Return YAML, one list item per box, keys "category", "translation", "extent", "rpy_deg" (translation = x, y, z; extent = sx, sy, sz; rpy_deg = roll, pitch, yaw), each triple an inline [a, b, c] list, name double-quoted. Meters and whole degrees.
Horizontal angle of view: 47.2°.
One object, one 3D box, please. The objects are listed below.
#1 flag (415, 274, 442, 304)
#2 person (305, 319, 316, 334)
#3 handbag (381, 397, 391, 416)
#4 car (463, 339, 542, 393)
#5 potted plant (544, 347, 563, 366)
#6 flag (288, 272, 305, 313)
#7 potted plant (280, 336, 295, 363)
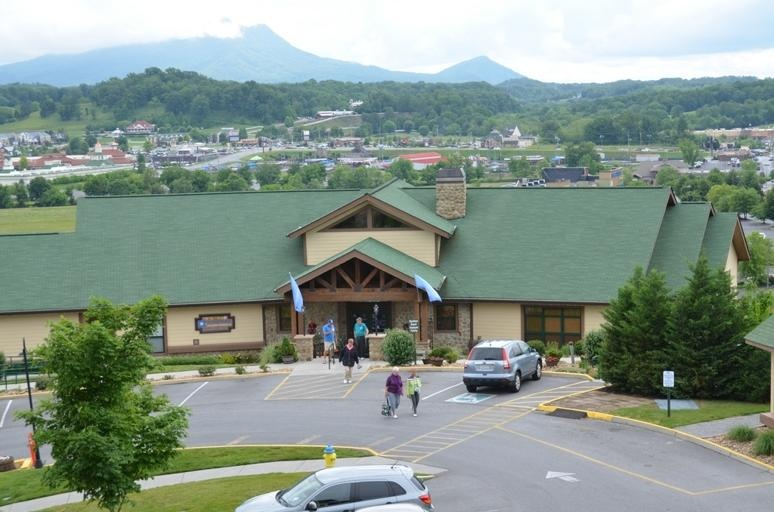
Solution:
- category: "flag"
  translation: [2.237, 1.785, 47.960]
  extent: [1.391, 1.668, 0.786]
  rpy_deg: [-4, -14, -2]
- category: "person"
  translation: [-4.321, 3.984, 49.704]
  extent: [0.670, 0.957, 0.567]
  rpy_deg: [-1, 2, -11]
- category: "handbag"
  translation: [0.015, 6.484, 38.145]
  extent: [0.403, 0.799, 0.658]
  rpy_deg: [-3, 10, -1]
- category: "car"
  translation: [5.507, 5.122, 41.262]
  extent: [1.778, 2.459, 3.792]
  rpy_deg: [7, 14, 43]
- category: "potted plant"
  translation: [8.577, 5.190, 45.434]
  extent: [0.756, 0.800, 0.797]
  rpy_deg: [1, -2, 2]
- category: "flag"
  translation: [-4.819, 2.133, 48.287]
  extent: [0.738, 2.121, 1.978]
  rpy_deg: [-4, 10, -6]
- category: "potted plant"
  translation: [-5.309, 5.130, 48.047]
  extent: [0.843, 1.257, 0.881]
  rpy_deg: [-5, 11, -12]
